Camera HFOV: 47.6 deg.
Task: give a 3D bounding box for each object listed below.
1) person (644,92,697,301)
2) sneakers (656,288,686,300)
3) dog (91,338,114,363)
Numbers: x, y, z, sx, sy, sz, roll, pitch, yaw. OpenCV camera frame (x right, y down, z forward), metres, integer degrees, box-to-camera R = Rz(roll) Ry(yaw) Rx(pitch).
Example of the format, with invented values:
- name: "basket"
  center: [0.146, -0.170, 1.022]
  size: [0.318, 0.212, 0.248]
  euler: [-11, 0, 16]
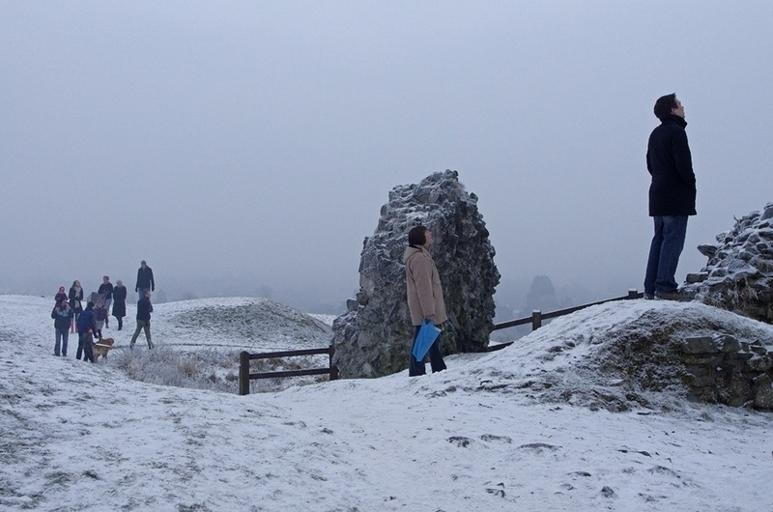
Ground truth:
- name: "person"
  center: [5.304, -1.093, 16.442]
  size: [0.878, 3.858, 0.455]
  euler: [2, -1, 20]
- name: "sneakers"
  center: [5.365, 0.752, 16.652]
  size: [0.620, 0.320, 0.248]
  euler: [-2, -1, -7]
- name: "dog"
  center: [-8.108, 2.712, 25.128]
  size: [0.486, 0.595, 1.690]
  euler: [4, -2, -18]
